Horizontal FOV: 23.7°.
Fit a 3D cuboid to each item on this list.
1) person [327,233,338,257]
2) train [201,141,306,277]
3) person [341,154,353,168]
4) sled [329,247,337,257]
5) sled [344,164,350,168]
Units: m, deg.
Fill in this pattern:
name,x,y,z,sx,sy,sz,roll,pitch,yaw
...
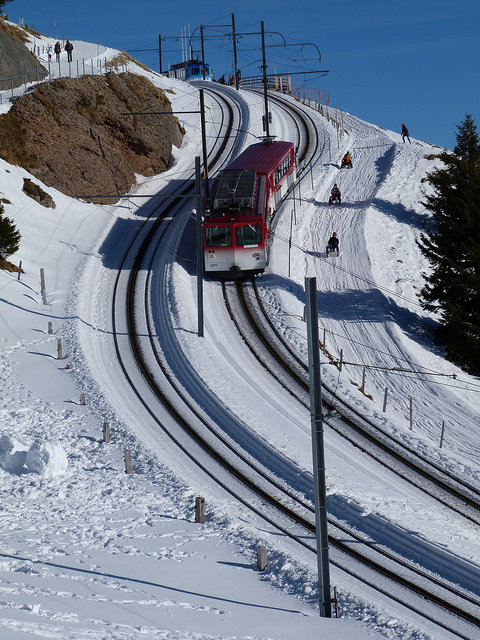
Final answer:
name,x,y,z,sx,sy,sz,roll,pitch,yaw
person,4.703,-3.797,57.983,0.486,1.142,1.051,6,27,4
train,0.306,-5.834,54.828,2.819,3.643,9.704,-1,33,8
person,7.061,-10.533,75.638,1.019,0.504,1.465,0,-12,5
sled,4.753,-3.490,57.859,0.411,0.546,0.225,0,27,-7
sled,7.042,-10.149,75.112,0.335,0.266,0.140,9,28,10
